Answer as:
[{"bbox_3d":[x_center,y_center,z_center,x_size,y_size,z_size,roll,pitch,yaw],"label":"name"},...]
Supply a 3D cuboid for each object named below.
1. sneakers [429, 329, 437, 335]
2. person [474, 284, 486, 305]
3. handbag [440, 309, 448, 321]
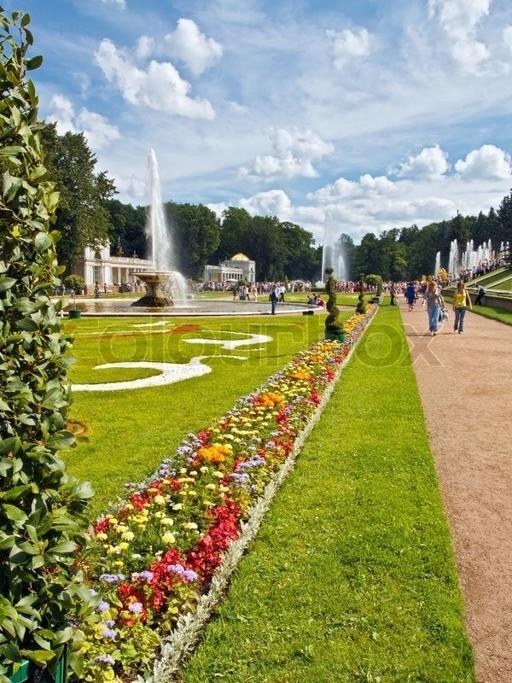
[{"bbox_3d":[5.490,-0.282,16.670,0.140,0.200,0.444,1,13,16],"label":"sneakers"},{"bbox_3d":[13.270,-2.678,31.943,0.568,1.022,2.503,3,8,23],"label":"person"},{"bbox_3d":[7.045,-0.986,20.248,0.397,0.402,0.392,3,19,14],"label":"handbag"}]
